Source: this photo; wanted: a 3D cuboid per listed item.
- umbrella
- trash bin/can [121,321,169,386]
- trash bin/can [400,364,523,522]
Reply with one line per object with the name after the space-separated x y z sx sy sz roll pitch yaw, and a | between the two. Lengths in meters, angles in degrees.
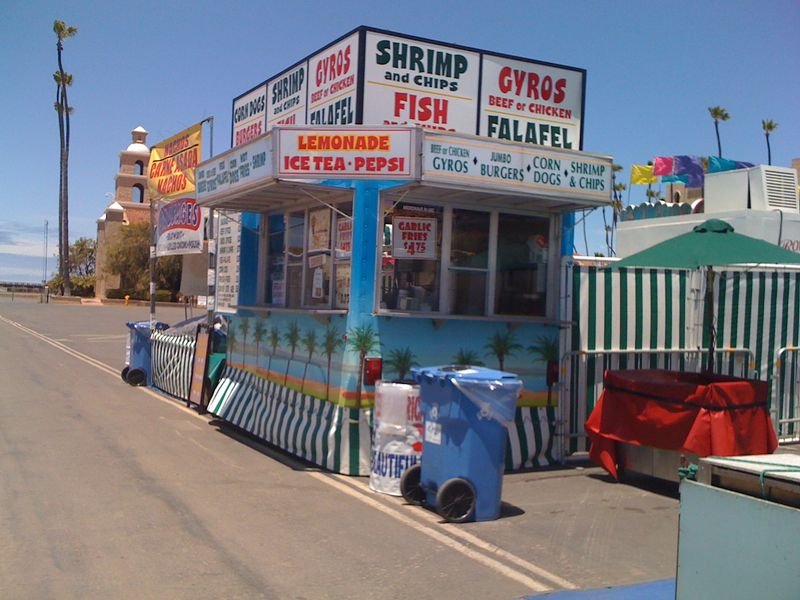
4.181 -0.060 9.539 2.068 1.798 1.773 1 1 -24 | umbrella
-6.283 1.267 17.272 0.998 1.477 1.282 1 1 -23 | trash bin/can
0.746 1.634 8.159 1.015 1.645 0.898 1 1 -22 | trash bin/can
